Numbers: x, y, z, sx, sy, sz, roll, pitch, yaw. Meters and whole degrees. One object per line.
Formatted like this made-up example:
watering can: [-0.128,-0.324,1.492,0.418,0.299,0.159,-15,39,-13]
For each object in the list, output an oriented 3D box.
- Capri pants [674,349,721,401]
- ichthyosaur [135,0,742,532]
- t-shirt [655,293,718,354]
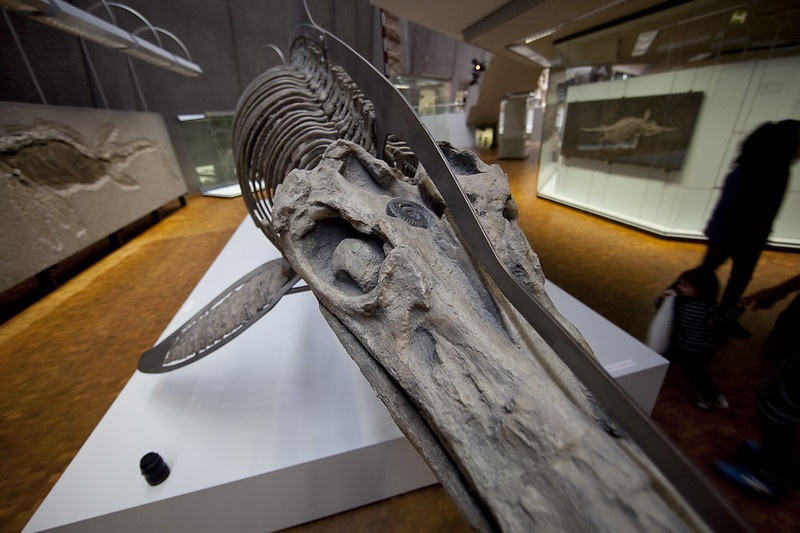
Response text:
Capri pants: [2.308,0.838,3.214,0.142,0.443,0.196,-23,-21,33]
ichthyosaur: [0.083,0.327,3.175,2.559,2.510,3.694,-15,53,-38]
t-shirt: [2.199,0.437,3.222,0.403,0.419,0.283,7,14,36]
